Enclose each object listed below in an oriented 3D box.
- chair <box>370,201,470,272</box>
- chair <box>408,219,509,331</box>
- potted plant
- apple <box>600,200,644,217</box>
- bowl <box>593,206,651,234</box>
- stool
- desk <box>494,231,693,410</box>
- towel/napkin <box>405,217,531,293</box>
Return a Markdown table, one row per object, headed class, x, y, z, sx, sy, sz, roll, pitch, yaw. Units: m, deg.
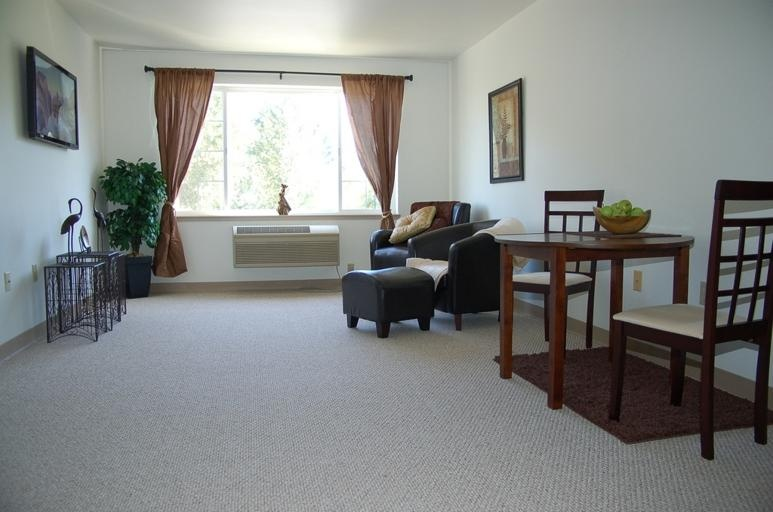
| class | x | y | z | sx | sy | sz | roll | pitch | yaw |
| --- | --- | --- | --- | --- | --- | --- | --- | --- | --- |
| chair | 0.386 | -0.074 | 6.331 | 0.950 | 1.195 | 1.067 | 1 | 2 | -45 |
| chair | 0.722 | 0.198 | 5.199 | 0.951 | 0.975 | 1.003 | -5 | -7 | 19 |
| potted plant | -2.967 | -0.319 | 6.309 | 0.714 | 1.638 | 0.688 | -1 | 8 | -5 |
| apple | 1.596 | -0.302 | 3.692 | 0.189 | 0.098 | 0.217 | 1 | 4 | 5 |
| bowl | 1.591 | -0.214 | 3.578 | 0.214 | 0.116 | 0.231 | 0 | 6 | 0 |
| stool | 0.026 | 0.413 | 4.957 | 0.822 | 0.528 | 0.861 | 0 | 5 | -7 |
| desk | 1.326 | 0.157 | 3.654 | 1.299 | 1.032 | 1.130 | -2 | 2 | -27 |
| towel/napkin | 0.745 | -0.034 | 5.139 | 0.854 | 0.924 | 0.735 | 0 | 0 | -17 |
